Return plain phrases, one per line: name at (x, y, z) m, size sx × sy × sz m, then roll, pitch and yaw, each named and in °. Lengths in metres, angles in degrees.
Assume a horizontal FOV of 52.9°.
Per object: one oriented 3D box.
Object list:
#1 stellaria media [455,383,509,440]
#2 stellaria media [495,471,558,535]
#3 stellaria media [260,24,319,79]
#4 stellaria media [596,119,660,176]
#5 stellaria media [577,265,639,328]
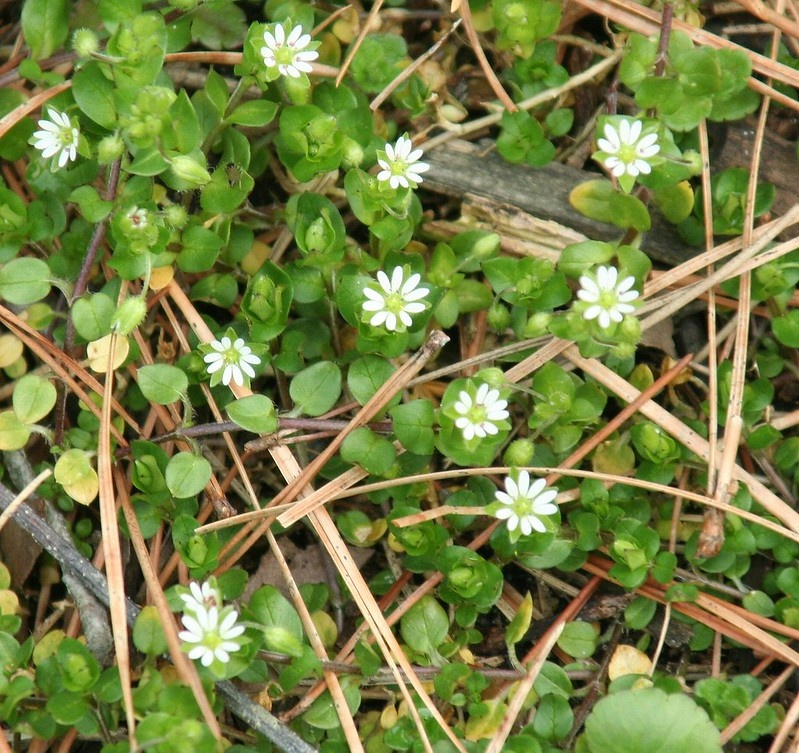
stellaria media at (0.218, 0.098, 2.198) m, size 0.136 × 0.164 × 0.106 m, roll 1°, pitch 25°, yaw -1°
stellaria media at (0.338, 0.349, 2.249) m, size 0.163 × 0.198 × 0.169 m, roll 5°, pitch 26°, yaw 4°
stellaria media at (-0.326, -0.950, 2.327) m, size 0.176 × 0.157 × 0.066 m, roll -26°, pitch 19°, yaw -17°
stellaria media at (0.635, -0.646, 2.241) m, size 0.183 × 0.172 × 0.059 m, roll -4°, pitch 3°, yaw -3°
stellaria media at (0.562, -0.227, 2.249) m, size 0.163 × 0.184 × 0.149 m, roll 4°, pitch 32°, yaw 5°
